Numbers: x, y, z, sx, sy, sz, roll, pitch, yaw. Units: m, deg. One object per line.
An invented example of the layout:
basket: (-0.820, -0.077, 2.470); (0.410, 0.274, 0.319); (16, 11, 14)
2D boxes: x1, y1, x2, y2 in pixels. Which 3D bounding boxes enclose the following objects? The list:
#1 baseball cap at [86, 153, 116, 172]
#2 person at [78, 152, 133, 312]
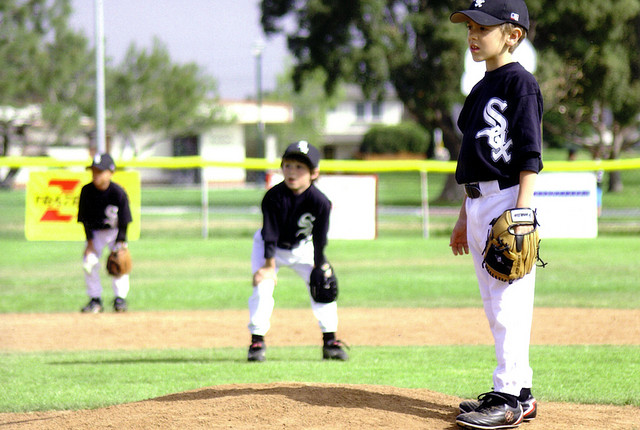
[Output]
baseball cap: (-4.350, -0.994, 26.198); (0.459, 0.353, 0.283); (-1, 2, -11)
person: (-4.419, 0.415, 26.631); (1.060, 3.223, 1.090); (-1, 2, -22)
